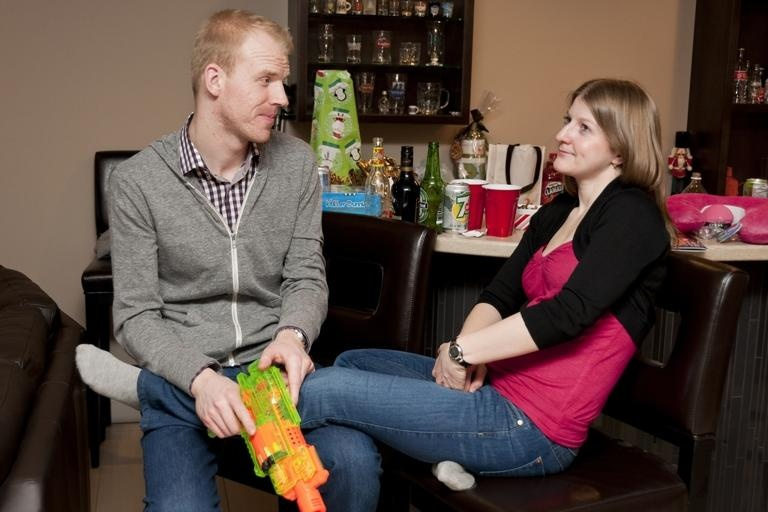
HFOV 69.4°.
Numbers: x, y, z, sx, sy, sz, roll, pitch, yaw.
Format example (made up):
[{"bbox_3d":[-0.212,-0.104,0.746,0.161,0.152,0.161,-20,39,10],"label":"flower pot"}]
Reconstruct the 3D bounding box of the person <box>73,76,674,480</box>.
[{"bbox_3d":[0.348,0.048,1.730,1.151,1.142,0.560,-6,13,-16],"label":"person"}]

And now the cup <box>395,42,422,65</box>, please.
[{"bbox_3d":[0.129,-1.166,3.285,0.153,0.171,0.154,1,5,0],"label":"cup"}]

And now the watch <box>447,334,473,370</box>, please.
[{"bbox_3d":[0.217,0.290,1.667,0.053,0.091,0.090,-39,-37,24],"label":"watch"}]

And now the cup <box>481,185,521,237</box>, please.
[{"bbox_3d":[0.462,-0.184,2.255,0.186,0.213,0.192,1,3,0],"label":"cup"}]

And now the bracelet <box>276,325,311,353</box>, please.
[{"bbox_3d":[-0.287,0.246,1.756,0.093,0.035,0.074,32,-12,27],"label":"bracelet"}]

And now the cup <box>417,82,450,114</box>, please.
[{"bbox_3d":[0.252,-0.926,3.312,0.236,0.227,0.155,1,2,-5],"label":"cup"}]
